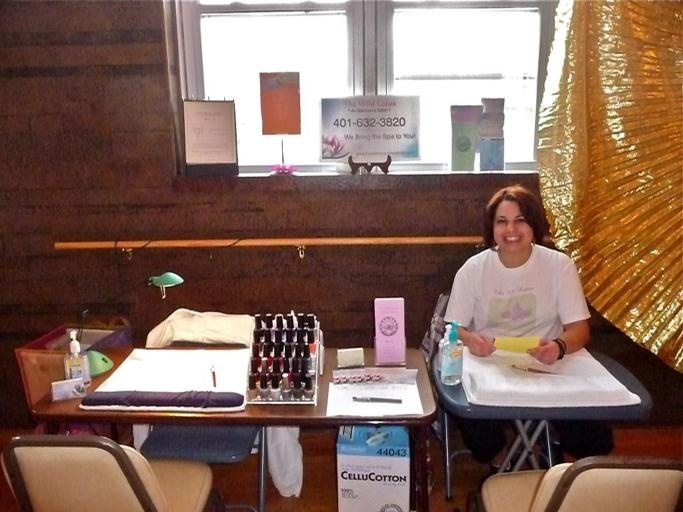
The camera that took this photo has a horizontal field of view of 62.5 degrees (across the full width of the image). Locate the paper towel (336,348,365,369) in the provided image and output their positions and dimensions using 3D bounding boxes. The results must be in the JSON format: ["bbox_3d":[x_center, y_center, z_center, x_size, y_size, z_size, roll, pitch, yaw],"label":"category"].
[{"bbox_3d":[0.040,0.448,2.506,0.115,0.082,0.077,0,9,-1],"label":"paper towel"}]

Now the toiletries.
[{"bbox_3d":[-0.230,0.425,2.345,0.247,0.143,0.354,-1,50,-1],"label":"toiletries"}]

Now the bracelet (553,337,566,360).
[{"bbox_3d":[0.925,0.397,2.398,0.036,0.081,0.066,1,2,2],"label":"bracelet"}]

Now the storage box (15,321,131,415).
[{"bbox_3d":[-1.281,0.462,2.863,0.415,0.376,0.570,-7,4,3],"label":"storage box"}]
